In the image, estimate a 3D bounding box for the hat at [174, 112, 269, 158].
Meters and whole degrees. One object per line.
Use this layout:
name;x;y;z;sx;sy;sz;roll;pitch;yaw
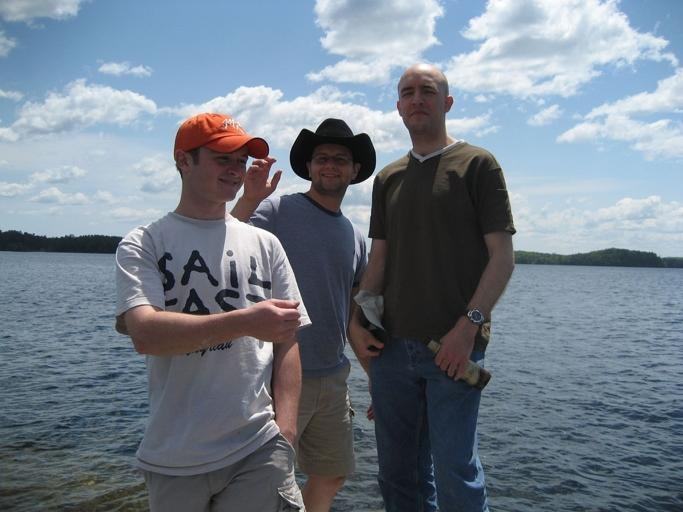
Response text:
hat;-1.158;-1.138;5.059;0.921;0.463;0.654;1;8;25

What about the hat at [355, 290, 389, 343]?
hat;0.332;0.677;6.108;0.199;0.497;0.451;-4;3;-27
